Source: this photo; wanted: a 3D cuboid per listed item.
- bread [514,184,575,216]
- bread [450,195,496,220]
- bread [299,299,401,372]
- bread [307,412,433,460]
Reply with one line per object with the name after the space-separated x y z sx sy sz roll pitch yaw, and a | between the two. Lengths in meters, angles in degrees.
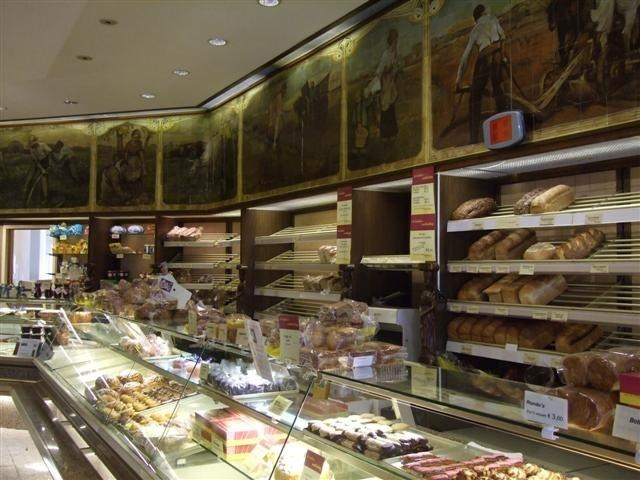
1.525 -0.266 3.336 0.373 0.114 0.201 -17 10 -31 | bread
1.200 -0.252 3.795 0.297 0.081 0.174 -10 6 -27 | bread
0.120 0.461 2.389 0.327 0.137 0.312 -1 3 -16 | bread
0.183 0.780 1.985 0.536 0.142 0.129 -3 -15 43 | bread
